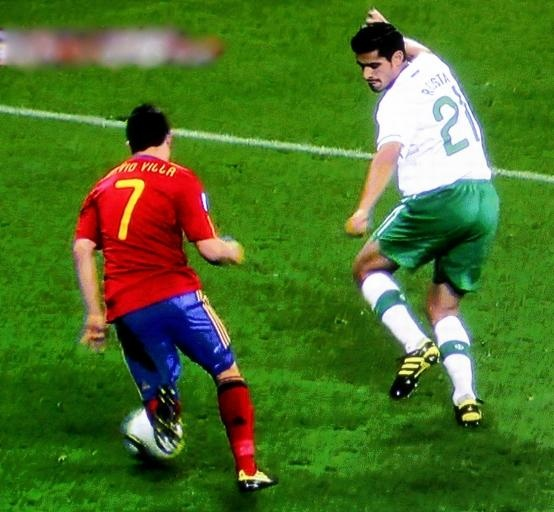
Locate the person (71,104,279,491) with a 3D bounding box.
[{"bbox_3d":[-0.634,0.311,5.682,1.347,2.090,0.708,21,29,30],"label":"person"}]

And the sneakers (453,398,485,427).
[{"bbox_3d":[1.205,0.967,5.973,0.145,0.081,0.194,0,30,-1],"label":"sneakers"}]
